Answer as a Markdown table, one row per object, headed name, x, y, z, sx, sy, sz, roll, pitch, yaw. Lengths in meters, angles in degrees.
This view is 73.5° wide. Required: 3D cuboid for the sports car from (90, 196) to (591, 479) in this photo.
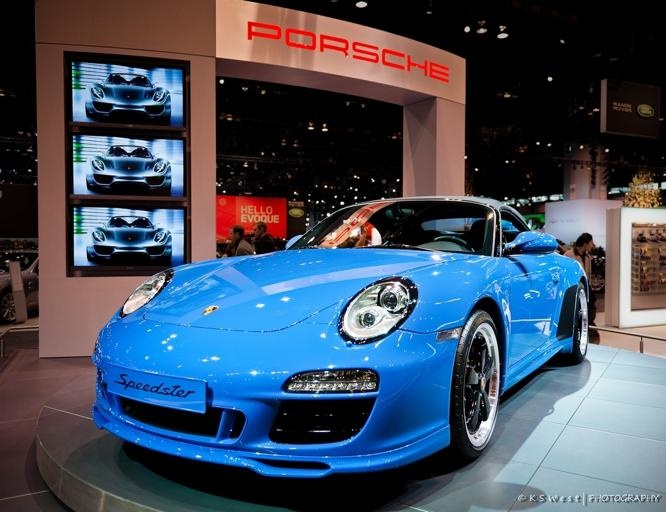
| name | x | y | z | sx | sy | sz | roll | pitch | yaw |
| --- | --- | --- | --- | --- | --- | --- | --- | --- | --- |
| sports car | 0.547 | 0.223 | 2.991 | 1.556 | 0.924 | 3.156 | -2 | -2 | 35 |
